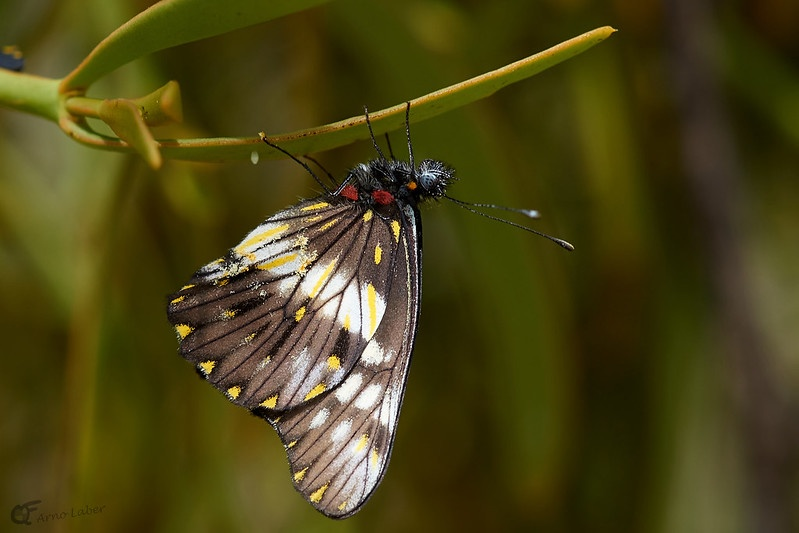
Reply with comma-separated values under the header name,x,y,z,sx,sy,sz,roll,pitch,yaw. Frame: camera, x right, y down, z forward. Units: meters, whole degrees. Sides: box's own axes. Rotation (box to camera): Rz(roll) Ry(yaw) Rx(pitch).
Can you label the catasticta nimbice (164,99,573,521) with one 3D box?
name,x,y,z,sx,sy,sz,roll,pitch,yaw
catasticta nimbice,-0.095,0.093,1.330,0.500,0.562,0.205,-3,-22,6
